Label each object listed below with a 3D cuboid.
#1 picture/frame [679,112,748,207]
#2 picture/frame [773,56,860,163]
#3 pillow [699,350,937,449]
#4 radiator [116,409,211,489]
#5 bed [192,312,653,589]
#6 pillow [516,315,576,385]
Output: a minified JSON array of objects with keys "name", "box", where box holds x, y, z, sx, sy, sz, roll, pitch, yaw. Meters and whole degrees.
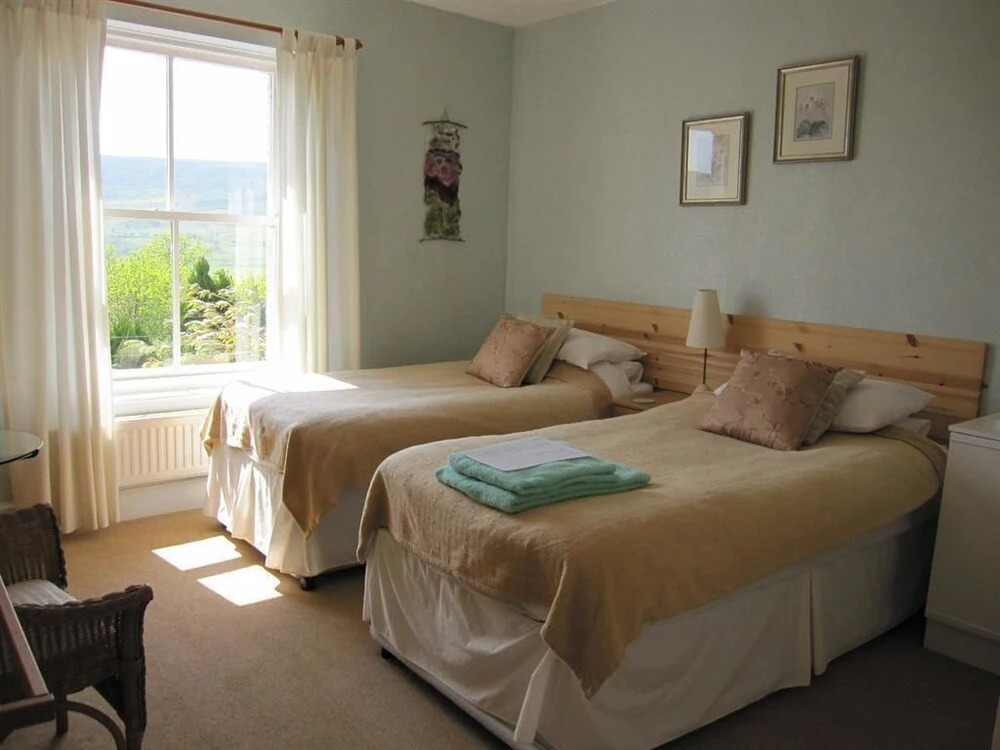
[{"name":"picture/frame","box":[1.301,-1.307,4.495,0.047,0.653,0.534,-5,10,-40]},{"name":"picture/frame","box":[1.728,-1.445,4.036,0.068,0.703,0.556,-8,11,-37]},{"name":"pillow","box":[1.481,0.129,3.594,0.650,0.205,0.593,4,41,39]},{"name":"radiator","box":[-2.047,0.464,4.515,0.561,0.355,0.065,-8,-16,20]},{"name":"bed","box":[-0.380,0.202,4.387,2.107,0.966,1.429,-4,11,-33]},{"name":"pillow","box":[0.297,-0.156,4.795,0.117,0.406,0.409,24,-7,-22]}]
